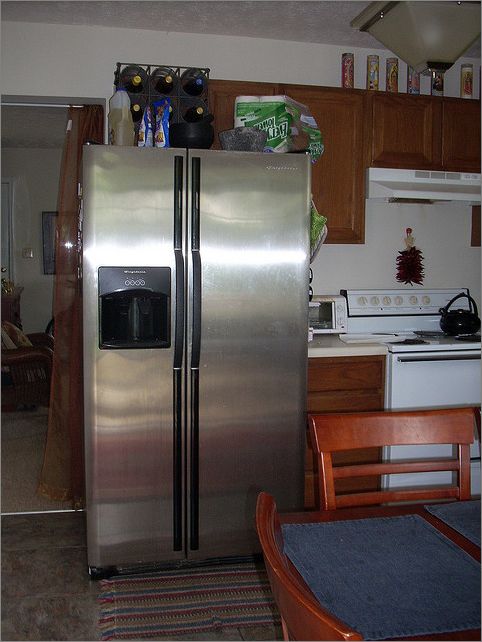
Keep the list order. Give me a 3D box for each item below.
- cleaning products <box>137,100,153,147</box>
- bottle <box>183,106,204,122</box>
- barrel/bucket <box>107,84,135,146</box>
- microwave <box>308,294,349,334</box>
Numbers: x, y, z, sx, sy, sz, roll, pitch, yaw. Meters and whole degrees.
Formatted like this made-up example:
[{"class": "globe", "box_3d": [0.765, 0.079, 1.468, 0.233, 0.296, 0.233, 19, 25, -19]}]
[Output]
[{"class": "cleaning products", "box_3d": [-0.379, -0.762, 2.190, 0.051, 0.190, 0.139, 0, 1, -11]}, {"class": "bottle", "box_3d": [-0.194, -0.859, 2.315, 0.091, 0.074, 0.063, 0, 2, -20]}, {"class": "barrel/bucket", "box_3d": [-0.456, -0.757, 2.112, 0.094, 0.258, 0.236, 0, 2, -13]}, {"class": "microwave", "box_3d": [0.435, -0.005, 2.996, 0.273, 0.271, 0.172, 0, -3, -3]}]
